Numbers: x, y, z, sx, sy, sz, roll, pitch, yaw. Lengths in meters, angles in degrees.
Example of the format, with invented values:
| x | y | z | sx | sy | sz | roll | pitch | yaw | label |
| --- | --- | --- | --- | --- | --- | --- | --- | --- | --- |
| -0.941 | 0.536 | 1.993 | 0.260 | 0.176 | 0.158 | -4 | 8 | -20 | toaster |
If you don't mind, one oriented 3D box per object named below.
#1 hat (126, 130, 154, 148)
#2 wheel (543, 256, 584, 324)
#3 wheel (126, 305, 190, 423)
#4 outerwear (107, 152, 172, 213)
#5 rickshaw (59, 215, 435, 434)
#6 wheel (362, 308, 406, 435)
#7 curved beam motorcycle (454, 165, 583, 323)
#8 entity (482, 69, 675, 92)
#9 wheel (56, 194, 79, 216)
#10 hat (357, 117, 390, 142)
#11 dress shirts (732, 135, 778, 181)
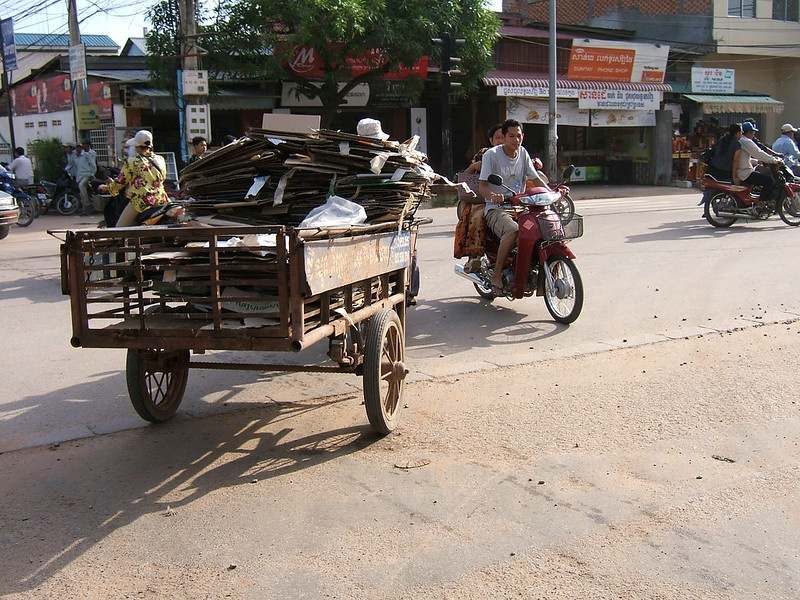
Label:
| x | y | z | sx | sy | sz | roll | pitch | yaw | label |
| --- | --- | --- | --- | --- | --- | --- | --- | --- | --- |
| -3.226 | -1.934 | 9.013 | 0.384 | 0.185 | 0.236 | 6 | 32 | 2 | hat |
| 1.669 | -0.095 | 7.606 | 0.219 | 0.649 | 0.615 | -15 | 17 | -30 | wheel |
| -1.609 | 0.418 | 4.920 | 0.315 | 0.846 | 0.784 | 1 | 6 | 5 | wheel |
| -3.186 | -1.446 | 9.060 | 0.552 | 0.619 | 0.980 | -7 | 22 | -18 | outerwear |
| -0.870 | 0.128 | 5.597 | 2.089 | 1.444 | 2.999 | -1 | 8 | 9 | rickshaw |
| -0.115 | 0.489 | 5.046 | 0.323 | 0.734 | 0.754 | 0 | 12 | 12 | wheel |
| 1.256 | -0.606 | 8.123 | 1.034 | 1.395 | 2.252 | 0 | 8 | -22 | curved beam motorcycle |
| 5.780 | -7.265 | 25.334 | 8.249 | 0.644 | 0.891 | -9 | 12 | -32 | entity |
| -8.527 | -2.463 | 19.024 | 0.535 | 0.507 | 0.197 | -2 | 19 | 1 | wheel |
| -0.208 | -1.375 | 6.006 | 0.321 | 0.161 | 0.294 | -9 | 20 | -24 | hat |
| 6.293 | -2.570 | 13.522 | 0.915 | 0.539 | 0.594 | -13 | 32 | 13 | dress shirts |
